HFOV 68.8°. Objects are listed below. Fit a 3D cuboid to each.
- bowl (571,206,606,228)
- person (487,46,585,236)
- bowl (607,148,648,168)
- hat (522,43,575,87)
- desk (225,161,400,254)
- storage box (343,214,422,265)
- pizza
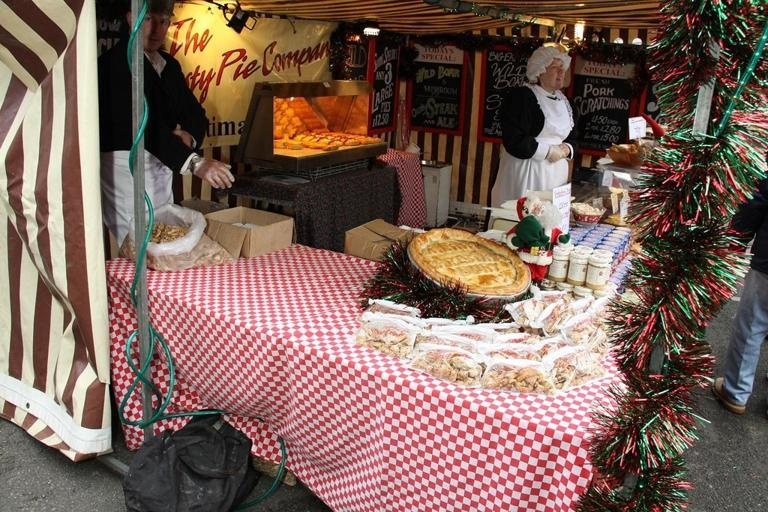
[{"bbox_3d":[1.400,-0.268,3.896,0.170,0.064,0.163,2,15,-1],"label":"bowl"},{"bbox_3d":[1.373,-1.080,5.011,0.767,1.677,0.653,3,19,2],"label":"person"},{"bbox_3d":[1.988,-0.840,4.667,0.217,0.138,0.338,-3,26,-5],"label":"bowl"},{"bbox_3d":[1.379,-1.645,4.736,0.352,0.122,0.330,-30,-11,19],"label":"hat"},{"bbox_3d":[-0.434,-0.532,5.348,1.275,0.878,1.826,4,13,21],"label":"desk"},{"bbox_3d":[-0.034,-0.097,3.496,0.333,0.115,0.330,18,31,29],"label":"storage box"},{"bbox_3d":[0.443,0.048,2.912,0.615,0.135,0.624,-10,35,-30],"label":"pizza"}]
